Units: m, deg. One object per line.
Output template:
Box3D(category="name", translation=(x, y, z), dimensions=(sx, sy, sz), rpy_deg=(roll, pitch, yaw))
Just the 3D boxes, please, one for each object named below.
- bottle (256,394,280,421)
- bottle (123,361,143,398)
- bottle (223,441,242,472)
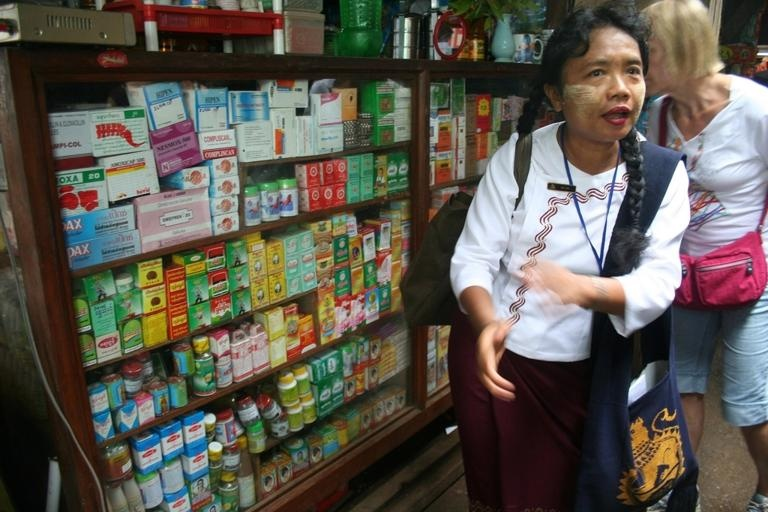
Box3D(category="bottle", translation=(-0.613, 0.801, 2.902), dimensions=(0.089, 0.129, 0.084), rpy_deg=(-28, 24, 14))
Box3D(category="bottle", translation=(-1.105, 0.537, 2.422), dimensions=(0.059, 0.137, 0.079), rpy_deg=(7, 21, 31))
Box3D(category="bottle", translation=(-0.774, 0.997, 2.793), dimensions=(0.133, 0.130, 0.129), rpy_deg=(0, 15, -17))
